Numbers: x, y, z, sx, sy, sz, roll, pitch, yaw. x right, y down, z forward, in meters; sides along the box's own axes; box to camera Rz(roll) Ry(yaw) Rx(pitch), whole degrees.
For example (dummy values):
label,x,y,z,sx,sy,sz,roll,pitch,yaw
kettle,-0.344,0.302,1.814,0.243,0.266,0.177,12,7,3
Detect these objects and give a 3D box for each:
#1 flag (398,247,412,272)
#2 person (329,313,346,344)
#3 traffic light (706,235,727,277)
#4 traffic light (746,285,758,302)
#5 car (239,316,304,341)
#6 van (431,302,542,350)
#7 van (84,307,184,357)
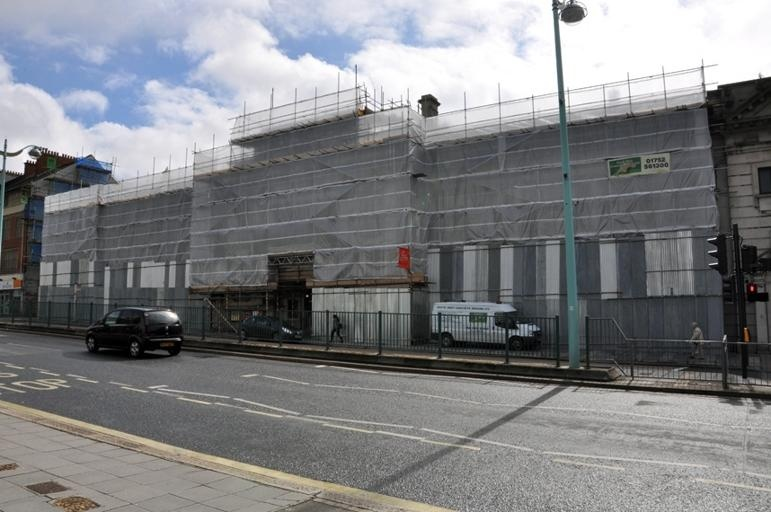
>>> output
label,x,y,z,sx,sy,sz,roll,pitch,yaw
flag,0.959,0.142,36.493,1.143,1.493,0.146,6,-9,-40
person,-2.188,3.187,30.764,0.654,1.100,0.856,-1,8,-5
traffic light,12.129,-0.080,25.544,0.692,1.485,1.372,4,8,25
traffic light,13.395,1.364,25.571,0.328,0.594,0.471,3,8,20
car,-5.520,3.617,33.502,4.085,1.082,0.837,6,10,42
van,4.208,2.626,31.259,4.326,1.655,9.209,1,7,4
van,-10.839,3.154,30.243,3.435,1.631,2.091,4,-1,28
